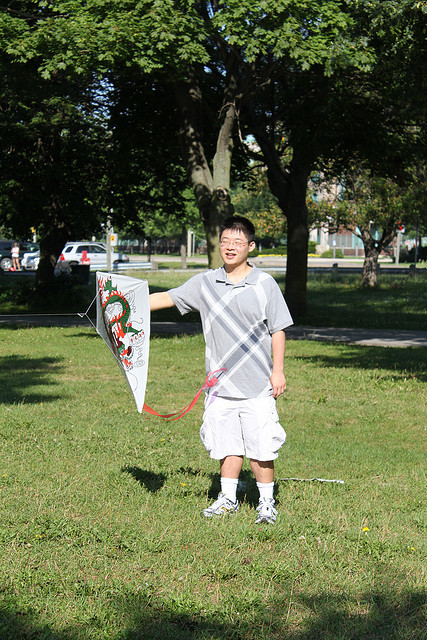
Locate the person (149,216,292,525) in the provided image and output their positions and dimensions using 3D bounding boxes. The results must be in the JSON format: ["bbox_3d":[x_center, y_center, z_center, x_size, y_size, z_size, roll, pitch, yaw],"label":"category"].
[{"bbox_3d":[0.115,0.334,4.806,0.758,1.992,0.663,-1,6,2],"label":"person"}]

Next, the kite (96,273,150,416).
[{"bbox_3d":[-0.616,0.140,5.245,0.185,0.904,0.470,-5,7,-34],"label":"kite"}]

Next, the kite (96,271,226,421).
[{"bbox_3d":[-0.416,0.199,5.100,1.074,1.030,0.110,1,-2,21],"label":"kite"}]
